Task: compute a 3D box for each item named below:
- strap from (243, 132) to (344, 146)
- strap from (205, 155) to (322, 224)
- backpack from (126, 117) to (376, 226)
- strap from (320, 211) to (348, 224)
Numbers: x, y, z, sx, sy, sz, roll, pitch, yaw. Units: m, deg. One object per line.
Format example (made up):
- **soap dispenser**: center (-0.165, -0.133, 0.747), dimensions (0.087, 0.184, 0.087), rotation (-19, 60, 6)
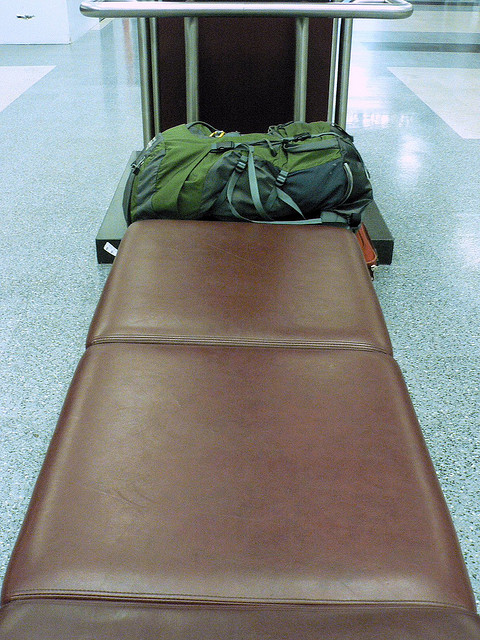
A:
- **strap**: center (0.158, -0.527, 1.561), dimensions (0.304, 0.036, 0.061), rotation (-5, 30, -14)
- **strap**: center (0.056, -0.361, 1.464), dimensions (0.242, 0.198, 0.228), rotation (-6, 43, -5)
- **backpack**: center (0.025, -0.424, 1.528), dimensions (0.491, 0.169, 0.439), rotation (0, 29, 4)
- **strap**: center (0.272, -0.291, 1.521), dimensions (0.058, 0.016, 0.030), rotation (6, 37, -9)
